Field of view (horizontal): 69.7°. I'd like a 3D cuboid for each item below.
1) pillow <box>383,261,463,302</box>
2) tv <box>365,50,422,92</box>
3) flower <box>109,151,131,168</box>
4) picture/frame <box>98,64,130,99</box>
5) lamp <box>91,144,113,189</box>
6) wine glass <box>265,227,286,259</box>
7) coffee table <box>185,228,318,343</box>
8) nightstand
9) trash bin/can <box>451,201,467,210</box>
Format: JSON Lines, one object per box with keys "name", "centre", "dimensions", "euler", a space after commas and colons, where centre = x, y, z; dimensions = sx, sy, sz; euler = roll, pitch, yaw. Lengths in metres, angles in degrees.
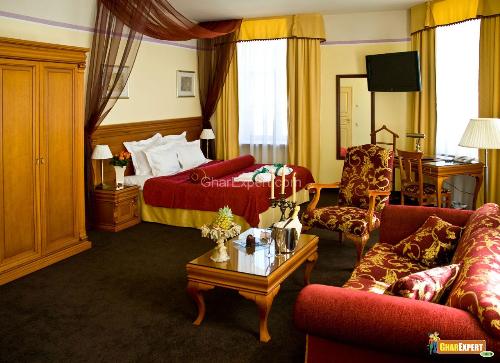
{"name": "pillow", "centre": [0.969, 0.575, 2.031], "dimensions": [0.216, 0.101, 0.340], "euler": [-6, 3, 31]}
{"name": "tv", "centre": [2.623, -2.012, 6.518], "dimensions": [0.123, 0.650, 0.889], "euler": [-20, 18, -42]}
{"name": "flower", "centre": [-1.938, -0.340, 5.359], "dimensions": [0.268, 0.217, 0.274], "euler": [2, 3, 43]}
{"name": "picture/frame", "centre": [-1.921, -1.418, 4.997], "dimensions": [0.042, 0.596, 0.544], "euler": [7, 13, 25]}
{"name": "lamp", "centre": [-2.187, -0.260, 5.282], "dimensions": [0.270, 0.608, 0.538], "euler": [-6, 14, -22]}
{"name": "wine glass", "centre": [0.247, 0.555, 3.331], "dimensions": [0.210, 0.325, 0.224], "euler": [0, 3, 14]}
{"name": "coffee table", "centre": [-0.042, 0.656, 3.113], "dimensions": [0.708, 0.498, 1.147], "euler": [2, 7, 25]}
{"name": "nightstand", "centre": [-1.962, 0.304, 5.448], "dimensions": [0.599, 0.721, 0.774], "euler": [3, 7, 22]}
{"name": "trash bin/can", "centre": [3.268, 0.371, 5.637], "dimensions": [0.298, 0.100, 0.231], "euler": [2, 4, 35]}
